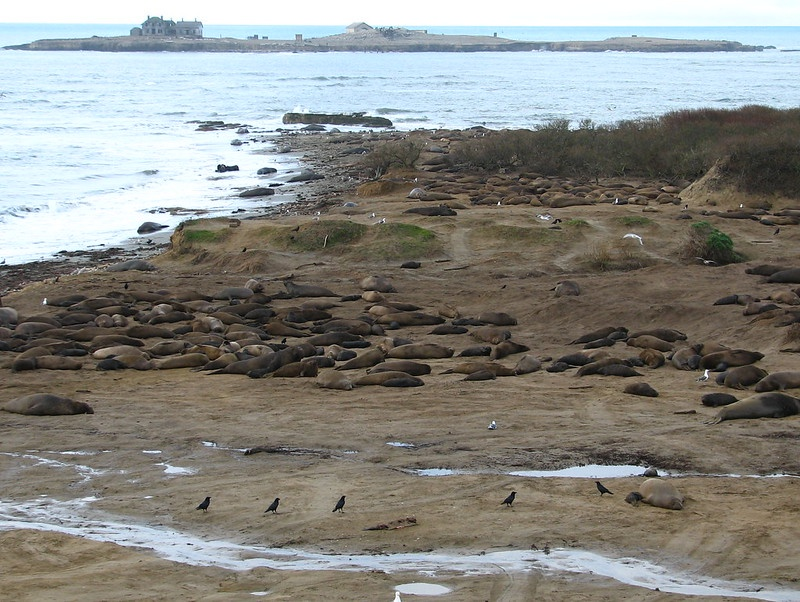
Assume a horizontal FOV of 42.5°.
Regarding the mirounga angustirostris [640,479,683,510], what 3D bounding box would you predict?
[{"bbox_3d":[3.662,2.672,14.281,0.654,0.320,0.385,9,15,36],"label":"mirounga angustirostris"}]
